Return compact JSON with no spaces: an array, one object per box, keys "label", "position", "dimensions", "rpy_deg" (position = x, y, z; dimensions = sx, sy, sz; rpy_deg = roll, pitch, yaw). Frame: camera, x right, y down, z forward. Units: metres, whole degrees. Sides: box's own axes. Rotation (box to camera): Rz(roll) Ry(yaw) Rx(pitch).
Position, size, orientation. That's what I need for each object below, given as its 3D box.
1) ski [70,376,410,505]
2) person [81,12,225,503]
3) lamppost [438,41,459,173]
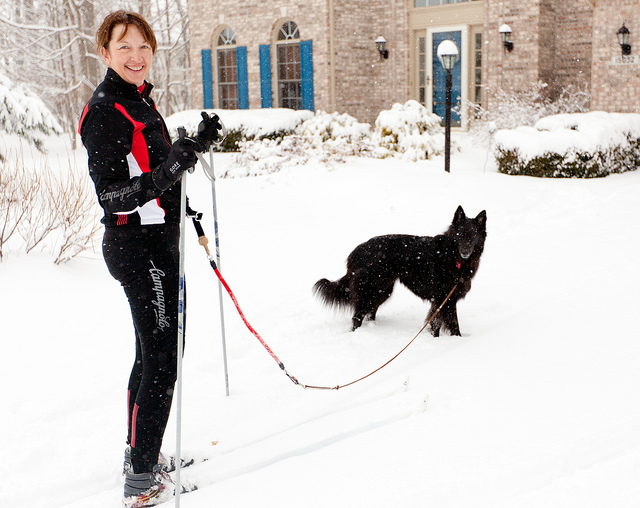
[{"label":"ski","position":[-0.470,1.353,5.152],"dimensions":[2.693,0.325,0.171],"rpy_deg":[-8,16,-26]},{"label":"person","position":[-1.109,0.043,4.540],"dimensions":[0.733,3.141,0.832],"rpy_deg":[-6,14,-22]},{"label":"lamppost","position":[2.340,-2.626,12.556],"dimensions":[0.377,2.484,0.383],"rpy_deg":[16,-20,-41]}]
